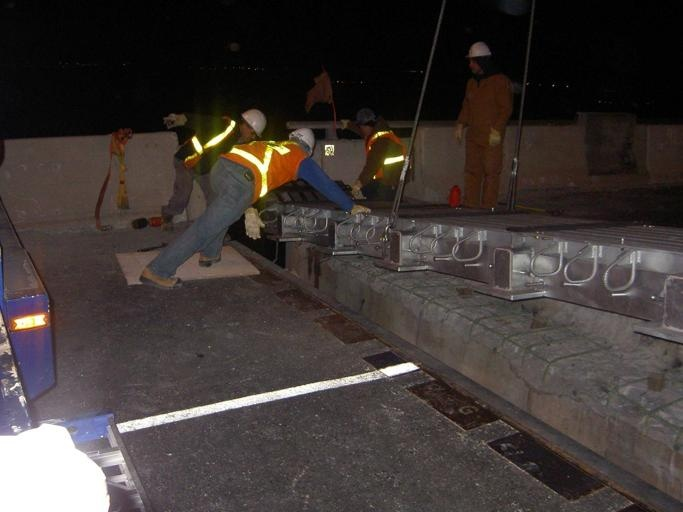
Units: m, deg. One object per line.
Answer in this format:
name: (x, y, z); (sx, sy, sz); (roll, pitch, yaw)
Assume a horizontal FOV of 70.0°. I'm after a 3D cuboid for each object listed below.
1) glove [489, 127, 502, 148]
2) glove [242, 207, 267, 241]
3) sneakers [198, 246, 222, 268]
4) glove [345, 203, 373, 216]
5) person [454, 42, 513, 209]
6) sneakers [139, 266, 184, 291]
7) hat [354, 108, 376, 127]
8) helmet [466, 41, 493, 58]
glove: (2.162, -1.663, 6.833); (0.163, 0.235, 0.067); (1, 6, 6)
glove: (-1.099, -0.411, 6.107); (0.287, 0.522, 0.133); (-5, 14, 11)
sneakers: (-1.741, 0.025, 6.285); (0.147, 0.202, 0.451); (11, 25, 27)
glove: (0.166, -0.463, 4.873); (0.300, 0.100, 0.142); (-1, 27, 9)
person: (2.076, -1.891, 7.096); (0.786, 2.320, 0.741); (4, 7, 21)
sneakers: (-1.989, 0.266, 5.332); (0.400, 0.170, 0.210); (7, 22, -27)
hat: (0.420, -2.314, 8.059); (0.317, 0.342, 0.638); (2, 7, 0)
helmet: (1.950, -2.882, 6.834); (0.325, 0.199, 0.284); (5, 28, 8)
